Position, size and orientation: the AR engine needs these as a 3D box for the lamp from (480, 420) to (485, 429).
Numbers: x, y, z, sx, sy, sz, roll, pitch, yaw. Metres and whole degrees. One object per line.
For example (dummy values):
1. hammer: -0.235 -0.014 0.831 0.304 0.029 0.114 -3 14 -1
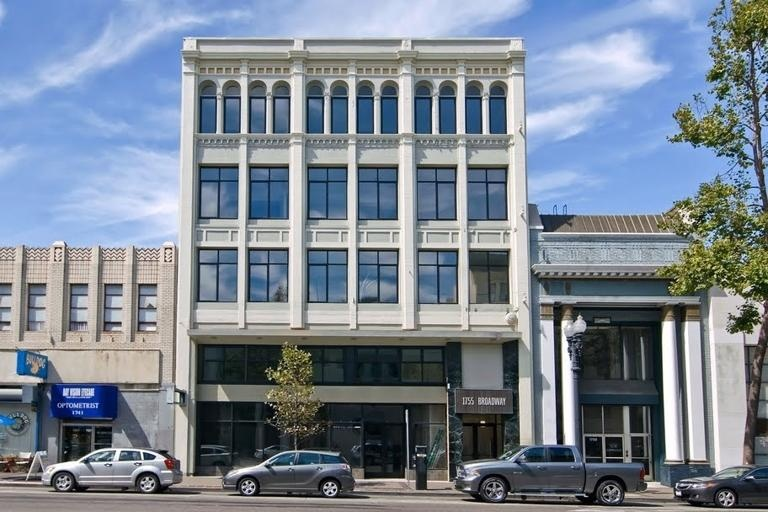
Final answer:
1. lamp: 5.243 8.937 72.547 0.305 0.390 0.296 1 -4 -2

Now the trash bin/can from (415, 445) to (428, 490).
1. trash bin/can: 1.785 10.478 67.348 0.517 2.128 0.555 -3 -13 1

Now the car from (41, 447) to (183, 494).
1. car: -12.720 10.142 64.257 5.766 2.073 0.682 -1 -13 -6

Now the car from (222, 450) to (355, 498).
1. car: -4.506 10.423 65.030 5.834 1.858 2.426 2 -18 0
